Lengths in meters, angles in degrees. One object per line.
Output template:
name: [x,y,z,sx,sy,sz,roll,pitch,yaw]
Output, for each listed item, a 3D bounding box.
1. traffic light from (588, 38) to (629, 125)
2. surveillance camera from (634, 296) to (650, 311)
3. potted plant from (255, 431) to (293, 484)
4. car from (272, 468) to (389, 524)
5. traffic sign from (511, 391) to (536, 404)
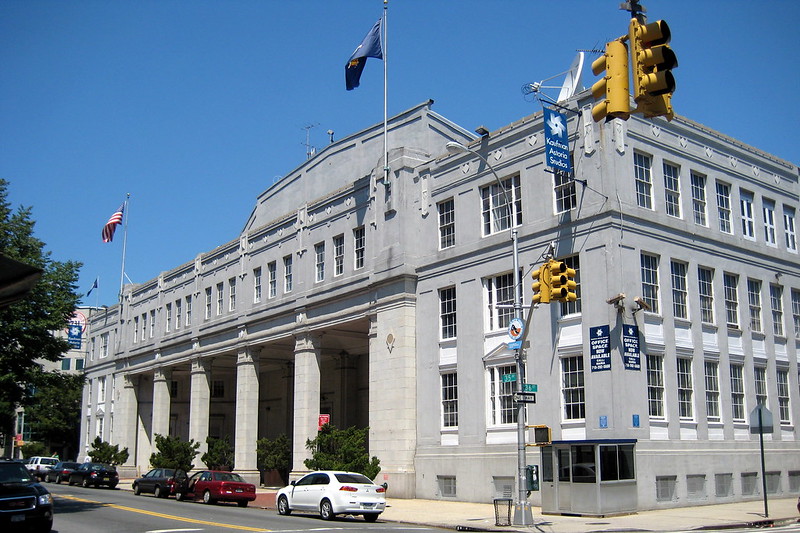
traffic light: [6.598,-5.926,27.427,1.106,2.414,1.195,-3,-19,14]
surveillance camera: [12.352,1.851,44.450,0.505,0.275,1.014,-9,-29,39]
potted plant: [-9.062,14.026,62.945,2.348,3.425,2.640,5,-17,-27]
car: [-3.730,11.289,43.240,6.117,2.269,1.936,-13,-24,36]
traffic sign: [5.583,5.791,39.223,0.913,0.556,0.817,0,-19,4]
